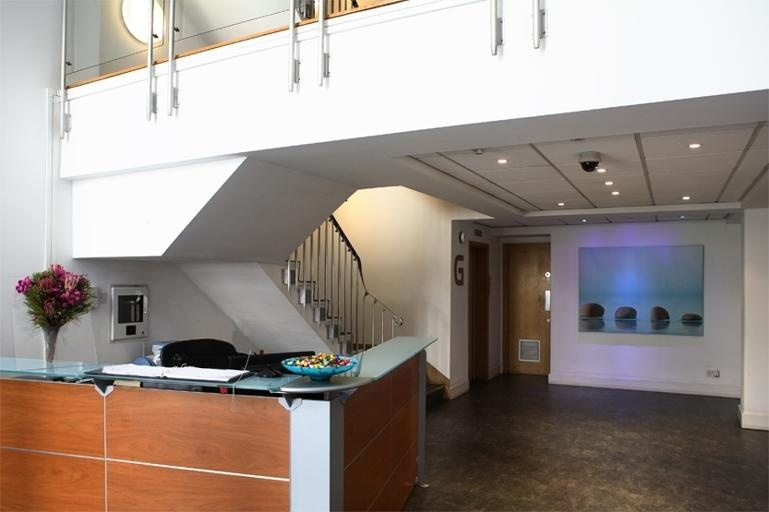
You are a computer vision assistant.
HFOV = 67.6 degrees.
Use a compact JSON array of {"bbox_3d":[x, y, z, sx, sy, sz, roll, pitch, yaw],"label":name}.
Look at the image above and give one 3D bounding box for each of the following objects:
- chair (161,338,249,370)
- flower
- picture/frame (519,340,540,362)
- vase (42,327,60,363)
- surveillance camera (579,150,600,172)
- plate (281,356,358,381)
[{"bbox_3d":[-2.026,1.093,6.394,0.711,0.323,0.513,4,-3,-28],"label":"chair"},{"bbox_3d":[-3.638,0.462,6.324,0.706,0.686,0.446,2,5,13],"label":"flower"},{"bbox_3d":[3.082,2.009,12.127,0.484,0.485,0.053,0,1,20],"label":"picture/frame"},{"bbox_3d":[-3.588,0.944,6.205,0.147,0.387,0.317,-2,5,-31],"label":"vase"},{"bbox_3d":[2.358,-1.104,6.638,0.196,0.182,0.196,8,11,40],"label":"surveillance camera"},{"bbox_3d":[-0.570,0.937,4.892,0.331,0.109,0.333,-1,-4,29],"label":"plate"}]
